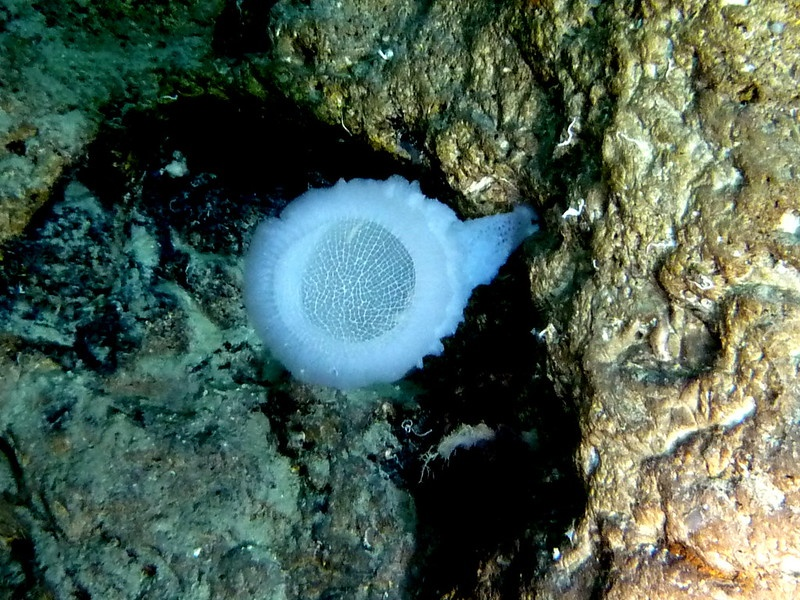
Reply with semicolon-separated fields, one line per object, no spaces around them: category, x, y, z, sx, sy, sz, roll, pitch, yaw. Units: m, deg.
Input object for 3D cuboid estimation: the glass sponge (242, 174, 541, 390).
glass sponge;-0.135;-0.016;5.592;1.791;1.215;1.264;-6;-66;-4
